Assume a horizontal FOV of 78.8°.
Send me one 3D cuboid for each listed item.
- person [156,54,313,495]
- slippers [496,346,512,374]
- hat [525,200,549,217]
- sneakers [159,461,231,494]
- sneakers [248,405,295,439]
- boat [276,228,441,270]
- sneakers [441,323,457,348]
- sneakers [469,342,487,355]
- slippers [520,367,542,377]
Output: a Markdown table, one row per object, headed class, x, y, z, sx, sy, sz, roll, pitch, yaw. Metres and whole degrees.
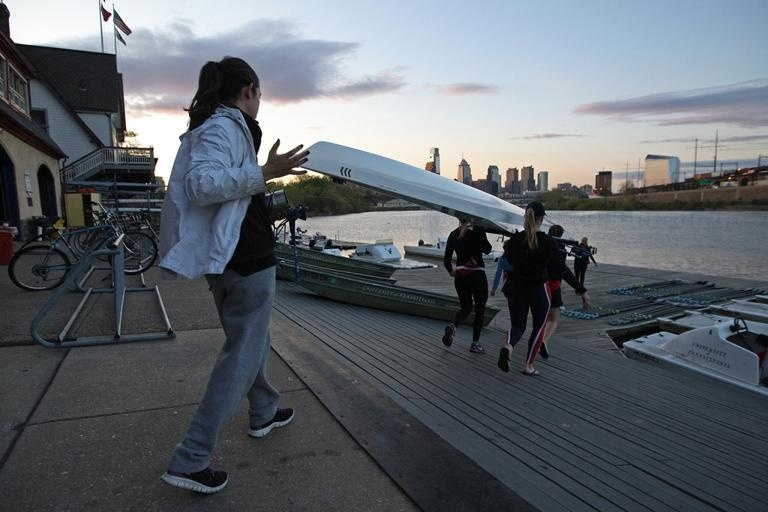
| class | x | y | z | sx | sy | sz | roll | pitch | yaw |
| --- | --- | --- | --- | --- | --- | --- | --- | --- | --- |
| person | -1.194 | 0.097 | 3.610 | 1.160 | 3.251 | 0.663 | -5 | 10 | -26 |
| slippers | 1.604 | 1.400 | 6.305 | 0.197 | 0.364 | 0.166 | 3 | -9 | 24 |
| hat | 2.045 | -0.637 | 6.324 | 0.196 | 0.140 | 0.273 | 11 | 22 | 32 |
| sneakers | -1.418 | 1.639 | 3.515 | 0.493 | 0.219 | 0.182 | 10 | 3 | -24 |
| sneakers | -0.961 | 1.452 | 4.071 | 0.152 | 0.159 | 0.414 | 9 | 13 | 39 |
| boat | -1.052 | -0.468 | 26.439 | 9.685 | 2.070 | 2.275 | 11 | 22 | 2 |
| sneakers | 0.997 | 1.243 | 7.350 | 0.206 | 0.401 | 0.182 | 2 | -10 | 26 |
| sneakers | 1.470 | 1.471 | 7.343 | 0.282 | 0.127 | 0.122 | -1 | 4 | -40 |
| slippers | 2.057 | 1.646 | 6.550 | 0.232 | 0.088 | 0.119 | -2 | 8 | -9 |
